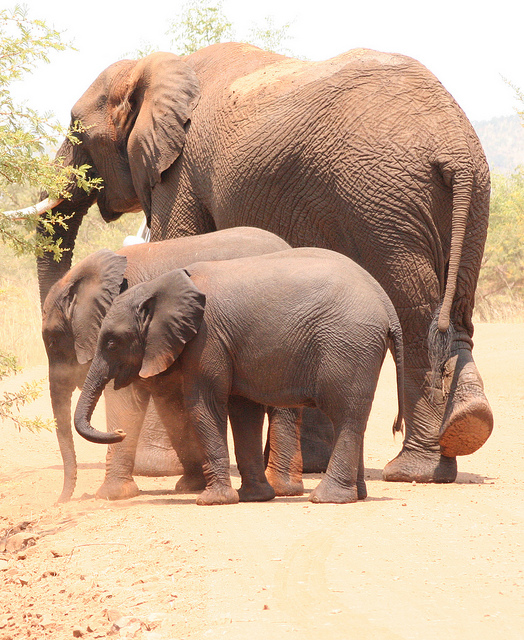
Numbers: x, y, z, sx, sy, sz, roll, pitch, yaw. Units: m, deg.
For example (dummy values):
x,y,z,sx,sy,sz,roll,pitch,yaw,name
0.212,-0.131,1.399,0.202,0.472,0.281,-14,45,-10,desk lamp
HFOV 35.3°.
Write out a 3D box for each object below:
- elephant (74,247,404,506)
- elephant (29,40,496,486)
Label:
x,y,z,sx,sy,sz,roll,pitch,yaw,name
-0.145,0.361,4.902,2.198,1.344,0.950,-3,-3,19,elephant
-0.254,-0.617,7.171,5.820,2.888,1.832,11,8,43,elephant
